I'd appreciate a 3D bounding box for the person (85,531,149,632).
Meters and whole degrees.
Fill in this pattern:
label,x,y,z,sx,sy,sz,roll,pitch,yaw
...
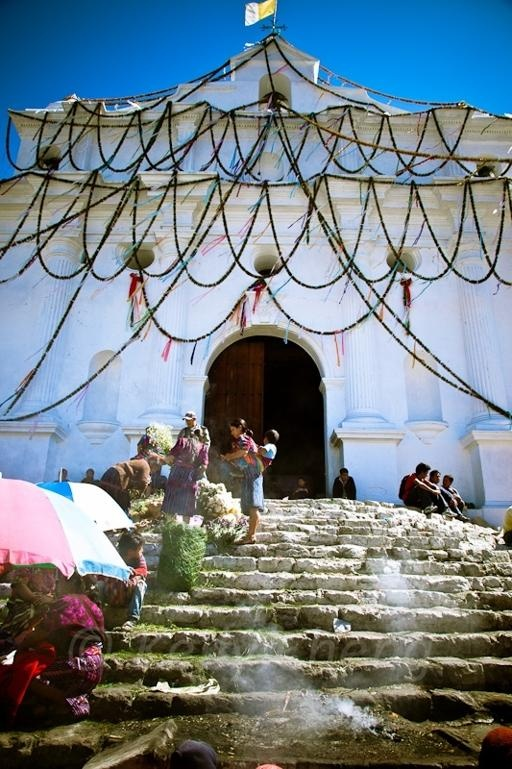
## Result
label,x,y,z,sx,sy,sz,roll,pitch,yaw
person,-1.366,1.733,4.690,0.454,0.831,0.587,-2,-35,0

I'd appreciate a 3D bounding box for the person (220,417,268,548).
label,x,y,z,sx,sy,sz,roll,pitch,yaw
person,-0.160,1.189,6.663,0.500,1.528,0.714,4,-14,-1

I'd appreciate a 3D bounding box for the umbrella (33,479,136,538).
label,x,y,z,sx,sy,sz,roll,pitch,yaw
umbrella,-1.648,1.366,5.103,0.797,0.299,0.790,12,-19,4

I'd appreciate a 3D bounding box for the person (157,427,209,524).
label,x,y,z,sx,sy,sz,roll,pitch,yaw
person,-0.912,1.154,6.884,0.522,1.240,0.396,5,-14,-8

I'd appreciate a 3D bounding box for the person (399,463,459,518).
label,x,y,z,sx,sy,sz,roll,pitch,yaw
person,2.705,1.701,8.597,0.732,0.793,0.693,-2,-15,19

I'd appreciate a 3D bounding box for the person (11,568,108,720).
label,x,y,z,sx,sy,sz,roll,pitch,yaw
person,-1.246,1.660,3.325,0.493,0.423,0.873,-8,13,-2
